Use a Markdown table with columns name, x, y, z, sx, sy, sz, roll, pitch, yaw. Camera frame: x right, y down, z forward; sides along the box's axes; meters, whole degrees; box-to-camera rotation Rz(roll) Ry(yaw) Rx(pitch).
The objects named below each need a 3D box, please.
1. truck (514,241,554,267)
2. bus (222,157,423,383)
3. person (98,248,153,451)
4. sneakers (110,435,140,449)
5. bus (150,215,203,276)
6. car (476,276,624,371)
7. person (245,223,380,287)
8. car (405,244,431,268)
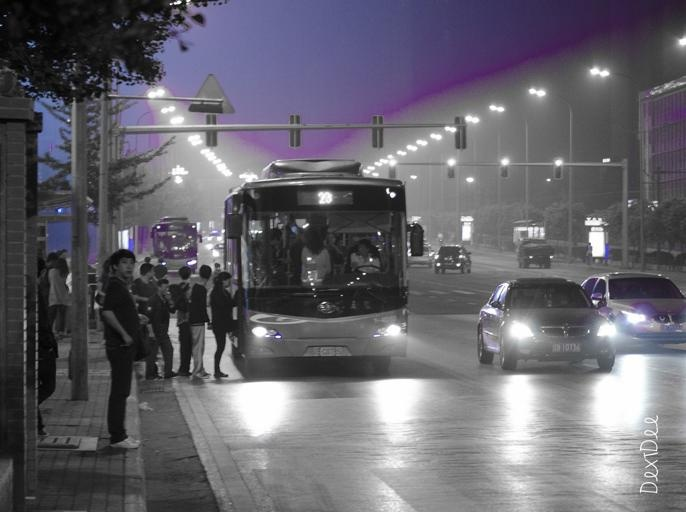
| name | x | y | z | sx | sy | sz | roll | pitch | yaw |
| --- | --- | --- | --- | --- | --- | --- | --- | --- | --- |
| truck | 16.153 | -0.119 | 72.039 | 2.011 | 1.604 | 3.322 | 0 | -2 | -2 |
| bus | -0.425 | 0.167 | 15.754 | 2.379 | 2.736 | 5.672 | 0 | -3 | -7 |
| person | -2.445 | 1.009 | 9.440 | 0.444 | 2.189 | 0.685 | 0 | 0 | -16 |
| sneakers | -2.349 | 2.044 | 9.207 | 0.326 | 0.129 | 0.118 | 1 | 7 | -5 |
| bus | -12.029 | -0.803 | 66.288 | 4.531 | 5.564 | 11.666 | 0 | -2 | -11 |
| car | 3.976 | 1.353 | 16.606 | 2.634 | 1.785 | 1.859 | 0 | 0 | 28 |
| person | -0.550 | -0.003 | 15.667 | 2.332 | 1.132 | 0.283 | 0 | 0 | -5 |
| car | 6.423 | 0.221 | 69.516 | 2.255 | 1.931 | 3.938 | 0 | 4 | 5 |
